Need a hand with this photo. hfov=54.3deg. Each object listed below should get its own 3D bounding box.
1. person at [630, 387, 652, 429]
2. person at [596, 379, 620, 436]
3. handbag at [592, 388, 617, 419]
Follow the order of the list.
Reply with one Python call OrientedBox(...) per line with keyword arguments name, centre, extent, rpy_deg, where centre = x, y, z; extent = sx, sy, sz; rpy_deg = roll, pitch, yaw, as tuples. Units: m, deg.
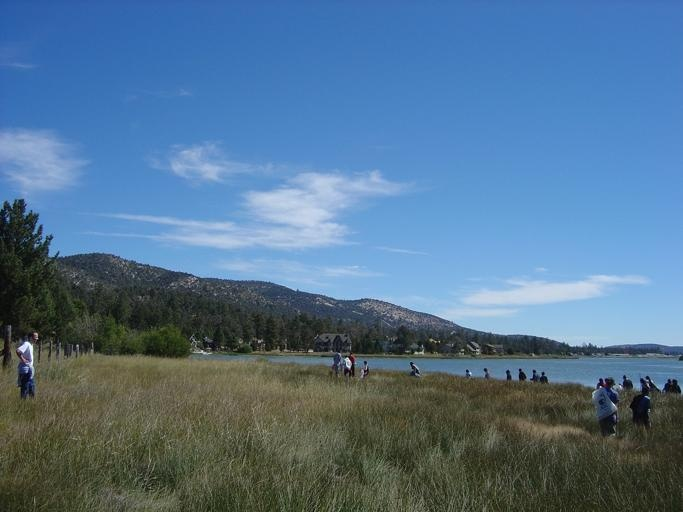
OrientedBox(name="person", centre=(10.606, 5.339, 23.567), extent=(0.571, 1.381, 0.915), rpy_deg=(1, -10, 12))
OrientedBox(name="person", centre=(8.717, 5.039, 22.049), extent=(0.837, 2.320, 0.763), rpy_deg=(-1, 16, 18))
OrientedBox(name="handbag", centre=(8.629, 4.872, 21.830), extent=(0.638, 1.060, 0.434), rpy_deg=(-1, -10, 25))
